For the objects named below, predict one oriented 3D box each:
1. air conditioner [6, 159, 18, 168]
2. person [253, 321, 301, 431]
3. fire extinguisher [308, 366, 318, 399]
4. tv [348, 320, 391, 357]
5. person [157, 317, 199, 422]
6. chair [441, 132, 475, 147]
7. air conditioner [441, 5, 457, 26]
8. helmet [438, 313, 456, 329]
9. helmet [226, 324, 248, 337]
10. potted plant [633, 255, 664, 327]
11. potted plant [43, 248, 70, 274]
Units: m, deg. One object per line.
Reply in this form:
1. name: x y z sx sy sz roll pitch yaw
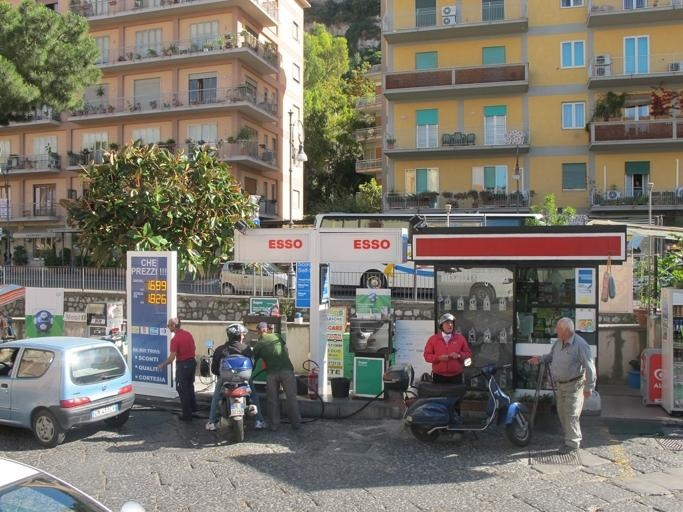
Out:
1. air conditioner: -19.695 -5.530 59.166 0.532 0.507 0.295 0 -8 -2
2. person: -1.814 3.281 27.321 1.327 2.745 1.176 2 0 -11
3. fire extinguisher: -0.793 3.589 28.306 0.277 0.828 0.374 1 -3 -2
4. tv: 0.816 2.335 29.119 1.623 1.332 0.887 0 -7 4
5. person: -4.484 3.109 27.689 0.833 2.783 0.618 -2 -4 44
6. chair: 5.961 -5.875 50.090 1.755 0.802 0.417 0 -3 16
7. air conditioner: 5.574 -12.261 50.550 0.791 1.057 0.548 1 -3 4
8. helmet: 2.893 1.685 26.603 0.340 0.337 0.408 0 -5 -13
9. helmet: -2.793 1.996 26.856 0.556 0.284 0.317 -10 16 -12
10. potted plant: 9.556 1.029 30.591 0.765 2.078 0.622 0 2 25
11. potted plant: -14.171 0.206 49.303 0.980 1.172 1.048 -2 -9 14
